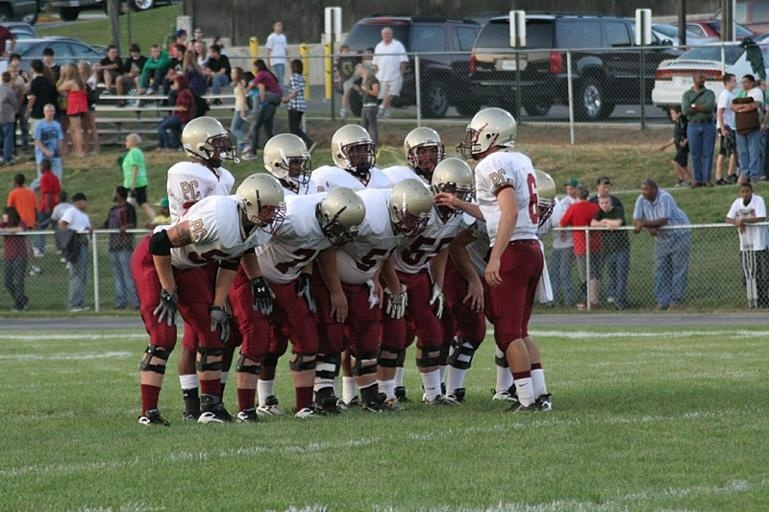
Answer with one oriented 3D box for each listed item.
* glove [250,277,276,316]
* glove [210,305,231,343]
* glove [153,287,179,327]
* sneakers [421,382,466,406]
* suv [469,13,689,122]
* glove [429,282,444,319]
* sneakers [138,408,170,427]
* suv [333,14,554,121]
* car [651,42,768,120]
[{"bbox_3d":[-1.546,0.490,19.624,0.321,0.445,0.136,-16,8,-35],"label":"glove"},{"bbox_3d":[-2.081,0.837,19.676,0.251,0.440,0.172,0,8,1],"label":"glove"},{"bbox_3d":[-2.763,0.630,19.571,0.277,0.463,0.204,-2,2,-10],"label":"glove"},{"bbox_3d":[0.757,1.811,20.436,0.565,0.258,0.207,4,-1,-9],"label":"sneakers"},{"bbox_3d":[3.696,-3.640,30.818,3.597,1.613,2.079,-9,12,-24],"label":"suv"},{"bbox_3d":[0.674,0.561,20.286,0.226,0.395,0.105,17,-12,-24],"label":"glove"},{"bbox_3d":[-2.921,2.009,19.553,0.410,0.190,0.176,8,4,34],"label":"sneakers"},{"bbox_3d":[0.951,-3.713,31.733,2.053,1.710,3.824,7,16,44],"label":"suv"},{"bbox_3d":[6.204,-3.474,29.473,2.310,0.746,1.041,-31,22,-37],"label":"car"}]
